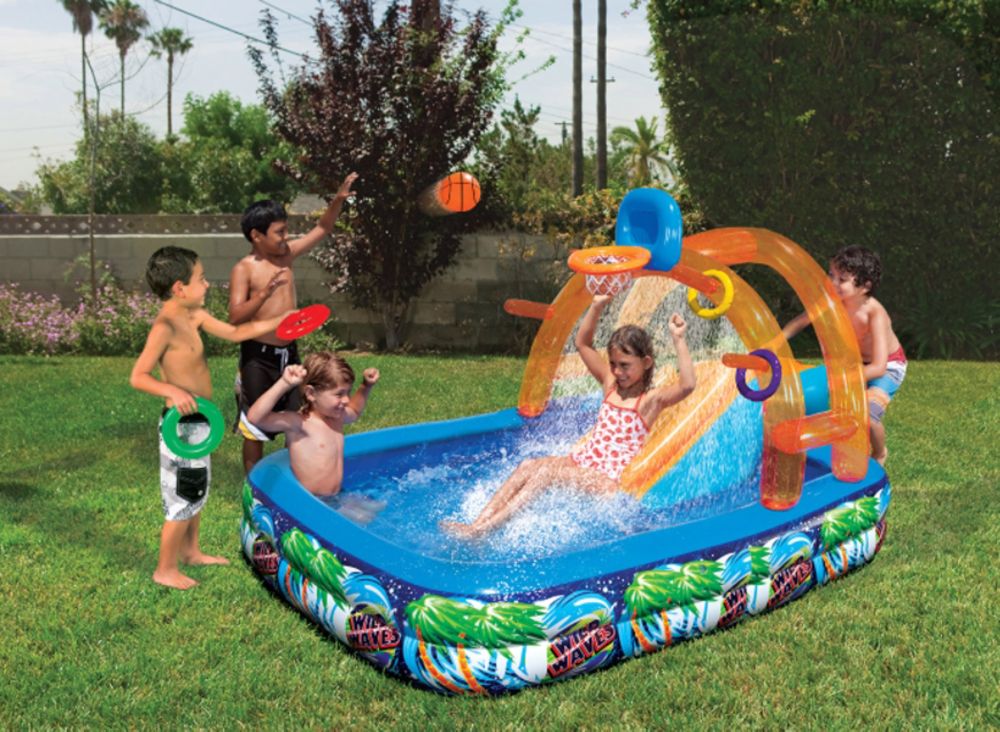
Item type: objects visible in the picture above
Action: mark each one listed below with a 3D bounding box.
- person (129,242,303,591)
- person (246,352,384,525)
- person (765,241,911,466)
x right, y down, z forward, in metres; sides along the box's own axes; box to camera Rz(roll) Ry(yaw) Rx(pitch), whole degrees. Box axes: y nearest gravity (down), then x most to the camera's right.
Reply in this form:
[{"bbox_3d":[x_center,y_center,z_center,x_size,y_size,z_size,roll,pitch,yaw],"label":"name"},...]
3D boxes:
[{"bbox_3d":[-2.020,0.324,6.694,0.719,2.217,0.817,-1,7,-15],"label":"person"},{"bbox_3d":[-1.317,0.533,7.034,0.379,1.514,0.890,3,10,34],"label":"person"},{"bbox_3d":[2.699,-0.052,7.767,0.662,1.741,1.225,5,8,27],"label":"person"}]
